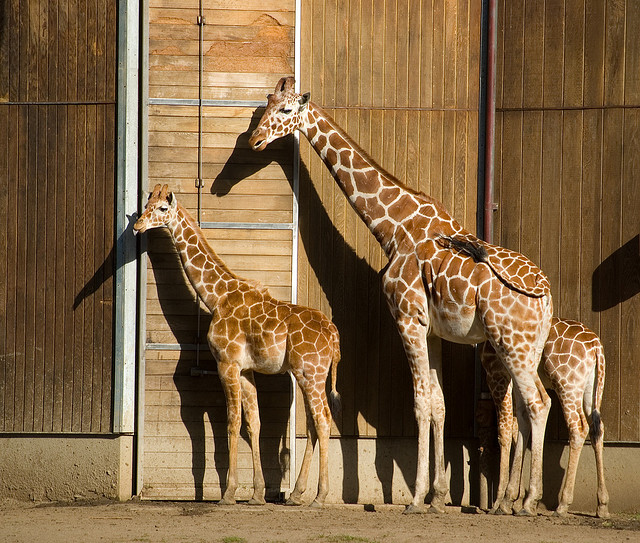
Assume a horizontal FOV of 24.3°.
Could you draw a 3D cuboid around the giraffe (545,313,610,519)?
[{"bbox_3d":[2.259,1.250,12.978,0.470,1.743,0.946,-5,-14,29],"label":"giraffe"}]
